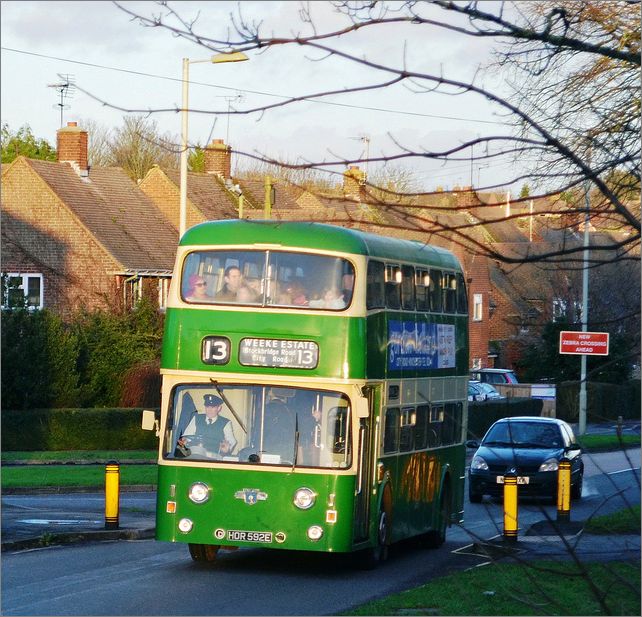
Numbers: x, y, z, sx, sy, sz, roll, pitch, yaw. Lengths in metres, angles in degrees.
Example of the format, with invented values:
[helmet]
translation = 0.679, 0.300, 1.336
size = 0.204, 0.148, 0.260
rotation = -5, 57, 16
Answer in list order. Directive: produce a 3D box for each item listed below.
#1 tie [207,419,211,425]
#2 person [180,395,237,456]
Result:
[tie]
translation = -1.318, 1.336, 13.733
size = 0.056, 0.058, 0.014
rotation = 6, 4, 8
[person]
translation = -1.334, 1.460, 13.732
size = 0.631, 0.846, 0.500
rotation = 6, 5, 4
